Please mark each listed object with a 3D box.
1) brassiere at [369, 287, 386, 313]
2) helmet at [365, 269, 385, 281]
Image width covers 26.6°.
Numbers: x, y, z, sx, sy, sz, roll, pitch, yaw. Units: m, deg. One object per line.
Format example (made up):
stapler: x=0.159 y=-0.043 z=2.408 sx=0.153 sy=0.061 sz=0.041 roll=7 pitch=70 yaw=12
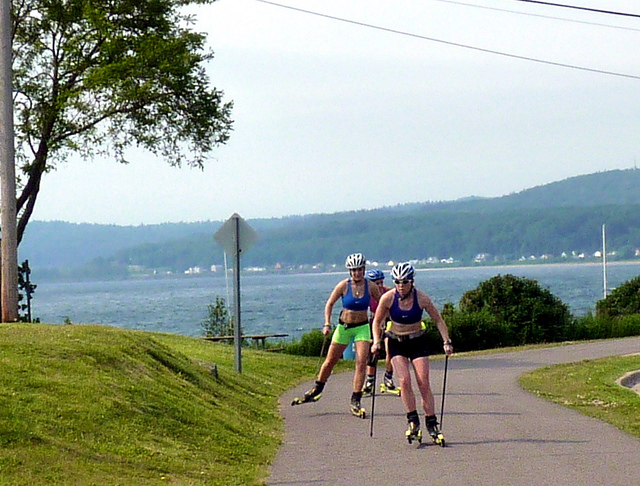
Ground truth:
brassiere: x=1.418 y=1.570 z=35.948 sx=0.395 sy=0.618 sz=0.576 roll=4 pitch=5 yaw=36
helmet: x=1.444 y=0.860 z=35.638 sx=0.347 sy=0.385 sz=0.305 roll=-9 pitch=19 yaw=1
